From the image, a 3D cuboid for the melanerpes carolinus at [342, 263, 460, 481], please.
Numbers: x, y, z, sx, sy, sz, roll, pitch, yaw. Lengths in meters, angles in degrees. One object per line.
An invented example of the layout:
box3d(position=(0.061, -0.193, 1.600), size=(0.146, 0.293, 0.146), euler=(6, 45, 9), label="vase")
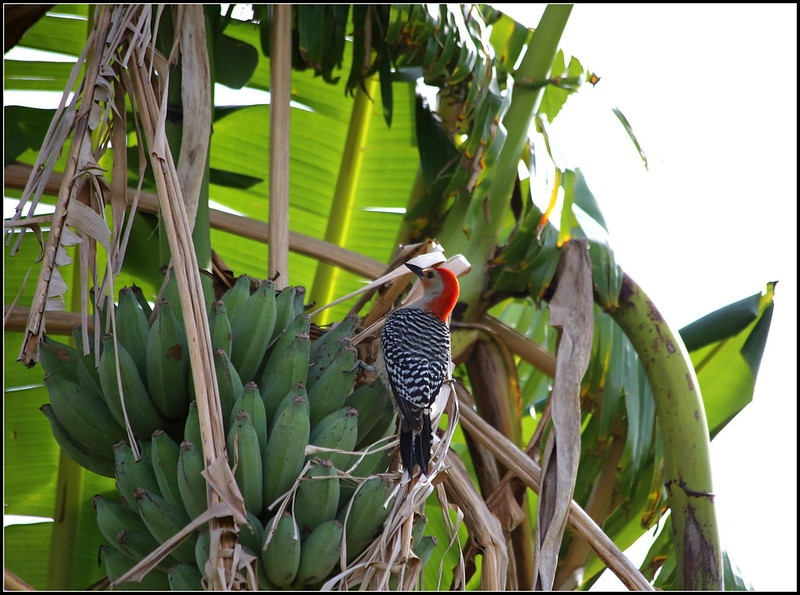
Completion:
box3d(position=(0.137, 0.335, 5.986), size=(0.325, 1.236, 0.699), euler=(26, -70, -19), label="melanerpes carolinus")
